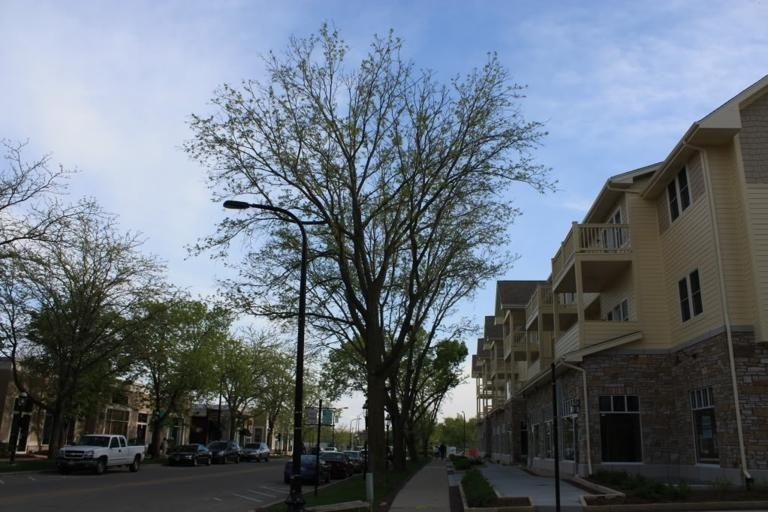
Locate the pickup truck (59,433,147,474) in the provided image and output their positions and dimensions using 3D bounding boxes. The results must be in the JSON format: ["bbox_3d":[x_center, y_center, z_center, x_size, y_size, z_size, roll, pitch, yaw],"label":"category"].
[{"bbox_3d":[-17.968,12.723,38.889,2.493,2.461,6.251,-4,-24,13],"label":"pickup truck"}]
